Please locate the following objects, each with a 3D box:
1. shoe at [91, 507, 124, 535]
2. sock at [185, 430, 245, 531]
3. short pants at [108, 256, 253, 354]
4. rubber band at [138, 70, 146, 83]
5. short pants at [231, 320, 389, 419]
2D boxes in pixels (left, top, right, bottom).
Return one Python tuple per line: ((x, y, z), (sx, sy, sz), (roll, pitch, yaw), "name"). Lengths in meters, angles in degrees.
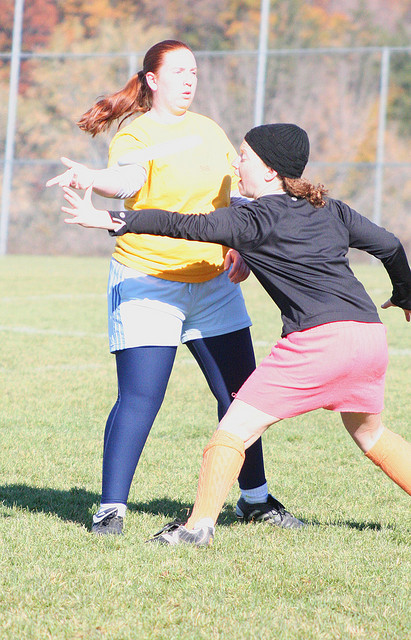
((-0.334, 0.687, 2.585), (0.056, 0.056, 0.144), (3, -3, -24), "shoe")
((0.032, 0.503, 2.410), (0.184, 0.330, 0.169), (3, 2, 10), "sock")
((-0.089, -0.043, 2.743), (0.507, 0.304, 0.158), (1, 2, -30), "short pants")
((-0.231, -0.915, 2.840), (0.010, 0.037, 0.039), (-17, 5, -3), "rubber band")
((0.372, 0.153, 2.385), (0.485, 0.313, 0.247), (1, 2, -33), "short pants")
